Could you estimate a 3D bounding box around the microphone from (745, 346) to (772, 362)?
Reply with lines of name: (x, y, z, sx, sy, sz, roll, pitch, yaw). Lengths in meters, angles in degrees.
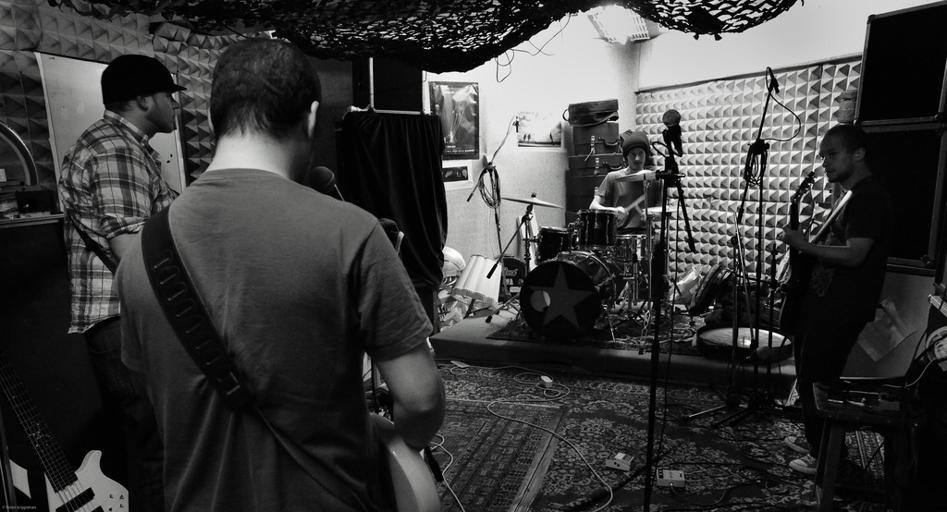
microphone: (2.746, 0.929, 6.564, 0.235, 0.119, 0.314, -2, -1, -20)

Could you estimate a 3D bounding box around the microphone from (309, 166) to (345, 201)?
microphone: (-1.153, -0.585, 5.365, 0.247, 0.087, 0.178, -23, 23, 46)

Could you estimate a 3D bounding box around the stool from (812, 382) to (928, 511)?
stool: (2.762, 1.397, 4.998, 0.667, 0.880, 0.510, 9, 14, 25)

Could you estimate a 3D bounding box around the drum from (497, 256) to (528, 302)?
drum: (0.537, 0.302, 9.688, 0.479, 0.557, 0.220, 2, -1, 15)

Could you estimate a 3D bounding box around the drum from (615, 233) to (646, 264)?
drum: (1.847, -0.061, 8.148, 0.453, 0.284, 0.336, 0, -2, 5)

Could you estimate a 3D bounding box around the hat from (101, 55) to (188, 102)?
hat: (-2.343, -1.285, 4.904, 0.614, 0.268, 0.446, -13, 25, -27)

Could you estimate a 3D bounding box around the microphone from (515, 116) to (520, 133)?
microphone: (0.658, -1.983, 10.432, 0.026, 0.221, 0.121, 13, 16, 38)

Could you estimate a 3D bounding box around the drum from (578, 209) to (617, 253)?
drum: (1.428, -0.317, 8.038, 0.485, 0.419, 0.461, 0, -1, 26)

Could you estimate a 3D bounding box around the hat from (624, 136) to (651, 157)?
hat: (1.998, -1.369, 8.519, 0.313, 0.270, 0.361, 5, 12, 10)

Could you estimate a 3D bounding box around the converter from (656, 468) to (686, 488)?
converter: (1.591, 1.808, 5.596, 0.162, 0.035, 0.152, 1, 12, 12)
